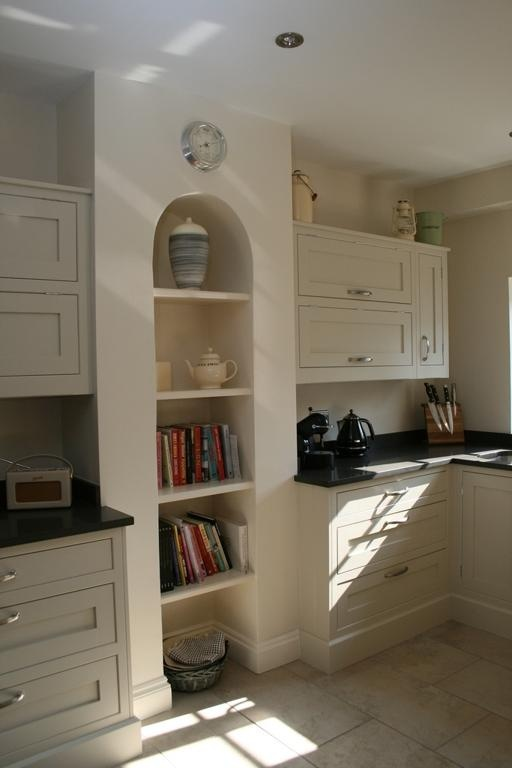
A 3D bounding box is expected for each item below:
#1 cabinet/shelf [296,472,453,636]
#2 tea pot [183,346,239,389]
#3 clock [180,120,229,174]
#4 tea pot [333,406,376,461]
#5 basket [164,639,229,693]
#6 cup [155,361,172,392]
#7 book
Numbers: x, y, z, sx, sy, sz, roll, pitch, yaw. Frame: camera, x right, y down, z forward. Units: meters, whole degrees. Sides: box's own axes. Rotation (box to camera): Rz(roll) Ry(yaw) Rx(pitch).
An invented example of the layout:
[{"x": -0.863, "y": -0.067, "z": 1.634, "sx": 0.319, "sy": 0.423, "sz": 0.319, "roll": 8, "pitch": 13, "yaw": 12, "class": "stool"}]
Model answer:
[{"x": 0.523, "y": 0.791, "z": 2.776, "sx": 0.822, "sy": 0.685, "sz": 0.336, "roll": -4, "pitch": 2, "yaw": -41, "class": "cabinet/shelf"}, {"x": -0.189, "y": -0.058, "z": 2.631, "sx": 0.235, "sy": 0.181, "sz": 0.151, "roll": 1, "pitch": 0, "yaw": 0, "class": "tea pot"}, {"x": -0.182, "y": -0.930, "z": 2.335, "sx": 0.041, "sy": 0.179, "sz": 0.180, "roll": 4, "pitch": 3, "yaw": 45, "class": "clock"}, {"x": 0.533, "y": 0.273, "z": 3.327, "sx": 0.262, "sy": 0.292, "sz": 0.193, "roll": 2, "pitch": 0, "yaw": 7, "class": "tea pot"}, {"x": -0.259, "y": 1.183, "z": 2.541, "sx": 0.275, "sy": 0.153, "sz": 0.313, "roll": -1, "pitch": -1, "yaw": 4, "class": "basket"}, {"x": -0.378, "y": -0.032, "z": 2.424, "sx": 0.048, "sy": 0.119, "sz": 0.104, "roll": -1, "pitch": -1, "yaw": -4, "class": "cup"}, {"x": -0.273, "y": 0.510, "z": 2.569, "sx": 0.256, "sy": 0.663, "sz": 0.484, "roll": -2, "pitch": -1, "yaw": 38, "class": "book"}]
